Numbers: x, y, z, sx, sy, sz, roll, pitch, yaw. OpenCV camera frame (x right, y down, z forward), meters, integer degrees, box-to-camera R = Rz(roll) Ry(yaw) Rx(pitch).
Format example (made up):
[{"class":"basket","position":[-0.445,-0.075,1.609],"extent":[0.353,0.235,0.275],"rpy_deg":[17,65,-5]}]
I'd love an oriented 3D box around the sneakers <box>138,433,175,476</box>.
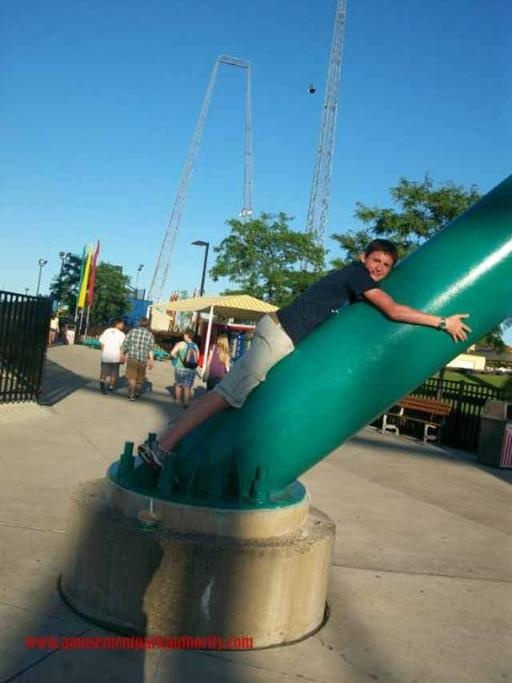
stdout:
[{"class":"sneakers","position":[-0.494,0.491,2.327],"extent":[0.099,0.127,0.281],"rpy_deg":[41,11,-38]}]

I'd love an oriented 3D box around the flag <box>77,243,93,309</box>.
[{"class":"flag","position":[-9.886,-3.463,28.304],"extent":[0.230,4.094,0.921],"rpy_deg":[13,18,-3]}]

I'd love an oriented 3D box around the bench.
[{"class":"bench","position":[3.528,1.762,11.179],"extent":[0.582,0.916,1.591],"rpy_deg":[9,-2,-29]}]

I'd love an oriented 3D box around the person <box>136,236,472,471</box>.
[{"class":"person","position":[0.278,0.225,2.476],"extent":[0.319,1.330,0.918],"rpy_deg":[43,14,-46]}]

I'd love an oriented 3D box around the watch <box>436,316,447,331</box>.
[{"class":"watch","position":[0.759,-0.071,2.024],"extent":[0.039,0.051,0.053],"rpy_deg":[6,-5,19]}]
